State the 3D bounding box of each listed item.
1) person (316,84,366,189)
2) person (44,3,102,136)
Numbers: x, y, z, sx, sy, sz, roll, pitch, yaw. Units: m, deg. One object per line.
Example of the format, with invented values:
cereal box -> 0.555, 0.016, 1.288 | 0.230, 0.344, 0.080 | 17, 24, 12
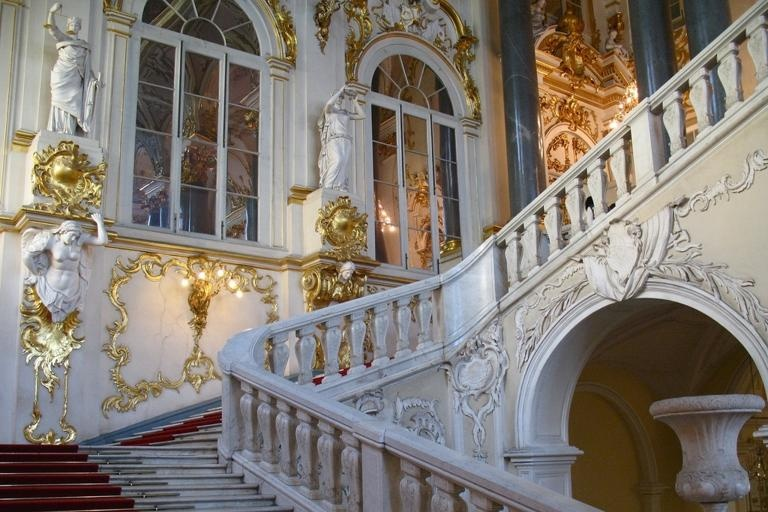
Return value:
person -> -0.531, -1.482, 12.409 | 0.590, 1.455, 0.721 | 6, -15, -20
person -> -3.455, -1.994, 10.919 | 0.607, 1.336, 0.309 | 7, -15, -24
